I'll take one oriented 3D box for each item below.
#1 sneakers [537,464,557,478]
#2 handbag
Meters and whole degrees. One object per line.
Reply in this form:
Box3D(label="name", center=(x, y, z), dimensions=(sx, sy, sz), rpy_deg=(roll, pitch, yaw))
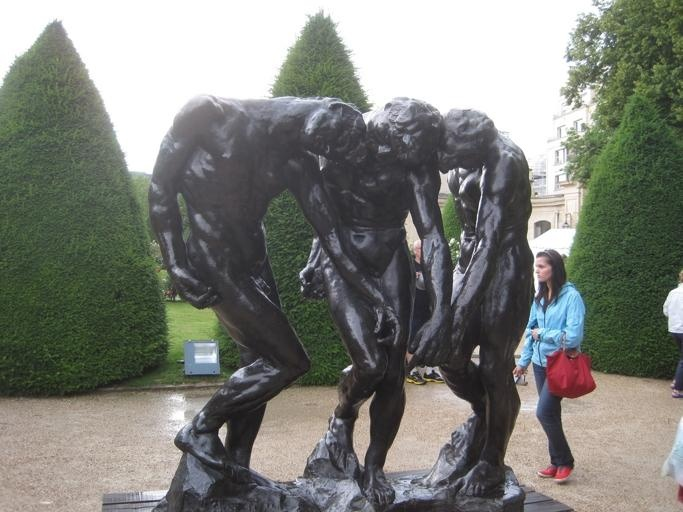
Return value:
Box3D(label="sneakers", center=(2.046, 2.171, 6.472), dimensions=(0.217, 0.097, 0.085), rpy_deg=(3, 0, 11))
Box3D(label="handbag", center=(2.193, 1.131, 6.196), dimensions=(0.414, 0.432, 0.258), rpy_deg=(4, 3, -15))
